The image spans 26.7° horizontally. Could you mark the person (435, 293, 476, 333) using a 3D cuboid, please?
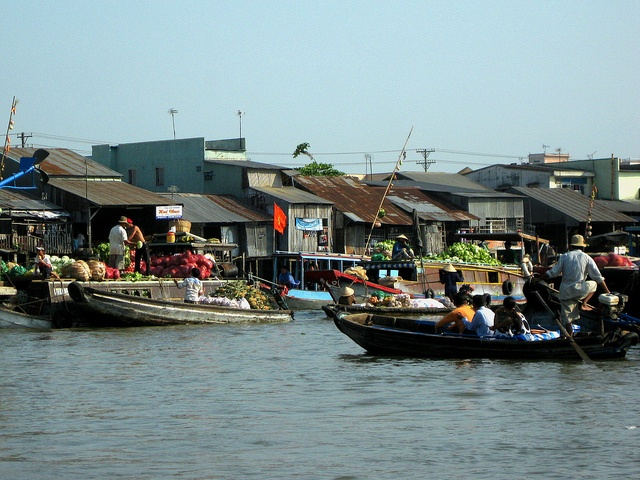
[{"bbox_3d":[3.017,1.655,29.824,0.719,0.924,0.726,-3,0,30],"label":"person"}]

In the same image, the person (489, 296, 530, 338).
[{"bbox_3d":[4.134,1.676,29.189,0.743,0.891,0.688,-2,-1,20],"label":"person"}]

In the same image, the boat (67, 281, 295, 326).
[{"bbox_3d":[-3.386,1.968,36.877,7.416,1.118,1.737,6,-7,-41],"label":"boat"}]

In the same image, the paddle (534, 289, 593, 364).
[{"bbox_3d":[5.316,1.923,29.449,0.174,0.383,3.337,-26,34,2],"label":"paddle"}]

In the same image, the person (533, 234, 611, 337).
[{"bbox_3d":[5.664,1.044,29.641,1.141,2.279,1.210,-1,-2,18],"label":"person"}]

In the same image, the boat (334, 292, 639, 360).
[{"bbox_3d":[3.537,2.293,29.677,7.535,1.303,2.254,1,-5,16],"label":"boat"}]

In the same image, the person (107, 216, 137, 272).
[{"bbox_3d":[-5.198,0.095,36.153,0.533,1.451,0.476,4,5,30],"label":"person"}]
